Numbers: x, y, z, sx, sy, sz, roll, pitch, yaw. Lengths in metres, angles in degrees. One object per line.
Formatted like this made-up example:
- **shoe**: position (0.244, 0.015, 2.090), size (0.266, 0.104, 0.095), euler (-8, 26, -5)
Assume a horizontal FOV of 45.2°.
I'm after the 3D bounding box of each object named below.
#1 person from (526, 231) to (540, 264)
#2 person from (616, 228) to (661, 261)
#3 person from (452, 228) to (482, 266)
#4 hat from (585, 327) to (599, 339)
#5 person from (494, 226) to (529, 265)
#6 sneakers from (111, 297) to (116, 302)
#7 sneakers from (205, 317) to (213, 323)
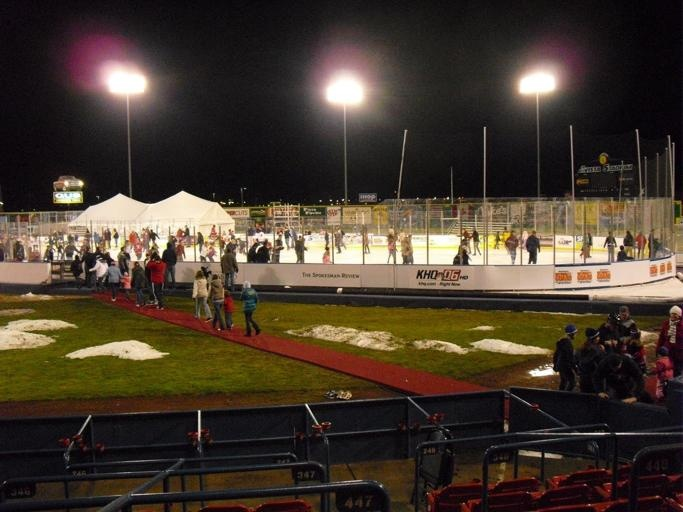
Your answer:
- **person**: position (7.711, -0.342, 32.999), size (0.654, 1.285, 0.318), euler (0, 1, -28)
- **person**: position (12.725, -0.426, 34.720), size (2.330, 1.202, 0.956), euler (0, 1, -29)
- **person**: position (5.075, -0.342, 33.039), size (1.092, 1.451, 0.324), euler (1, 1, 8)
- **hat**: position (5.812, 1.745, 18.937), size (0.302, 0.164, 0.219), euler (-35, 30, -26)
- **person**: position (6.807, -0.453, 33.088), size (1.336, 1.500, 0.845), euler (1, 1, 2)
- **sneakers**: position (-9.306, 1.757, 33.523), size (0.212, 0.168, 0.568), euler (0, 1, -16)
- **sneakers**: position (-4.537, 2.197, 28.103), size (0.159, 0.212, 0.463), euler (0, 1, -38)
